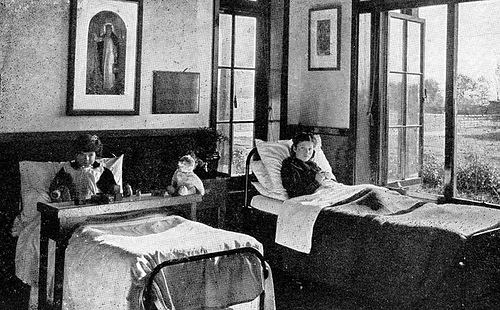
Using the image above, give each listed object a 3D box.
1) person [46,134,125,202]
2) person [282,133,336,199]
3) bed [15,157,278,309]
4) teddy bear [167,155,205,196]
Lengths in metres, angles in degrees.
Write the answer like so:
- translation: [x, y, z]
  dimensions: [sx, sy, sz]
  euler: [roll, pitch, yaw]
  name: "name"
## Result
- translation: [-1.624, 0.162, 4.213]
  dimensions: [0.762, 0.698, 0.451]
  euler: [-8, 21, -32]
  name: "person"
- translation: [0.715, 0.131, 5.221]
  dimensions: [0.484, 0.745, 0.865]
  euler: [5, 10, 41]
  name: "person"
- translation: [-0.950, 0.540, 3.776]
  dimensions: [1.283, 1.001, 1.916]
  euler: [-2, 4, -40]
  name: "bed"
- translation: [-0.668, 0.207, 4.259]
  dimensions: [0.412, 0.390, 0.292]
  euler: [9, 8, 37]
  name: "teddy bear"
